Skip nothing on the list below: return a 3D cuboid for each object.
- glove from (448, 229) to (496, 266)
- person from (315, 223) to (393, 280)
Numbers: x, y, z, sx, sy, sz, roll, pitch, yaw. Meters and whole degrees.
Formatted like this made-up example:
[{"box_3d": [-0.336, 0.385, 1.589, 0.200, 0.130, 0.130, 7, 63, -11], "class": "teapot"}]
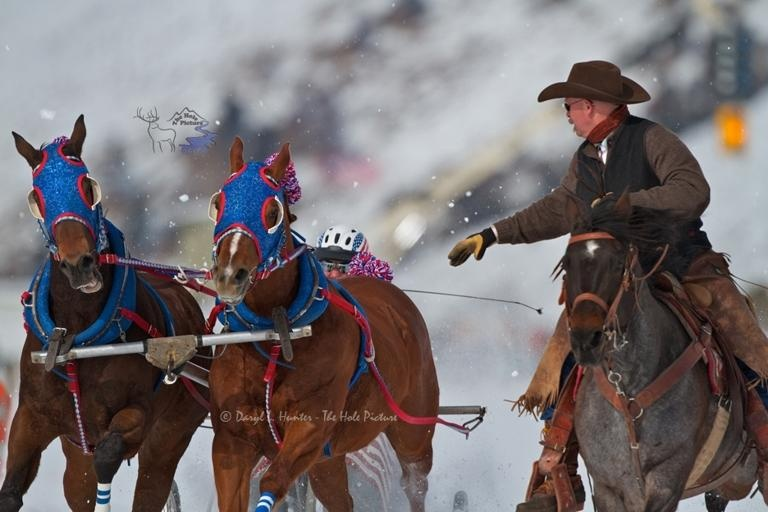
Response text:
[{"box_3d": [1.106, -0.116, 21.306, 0.636, 0.379, 0.232, -24, 19, -15], "class": "glove"}, {"box_3d": [-0.401, 0.087, 23.165, 0.725, 0.919, 0.918, 5, -38, 14], "class": "person"}]
